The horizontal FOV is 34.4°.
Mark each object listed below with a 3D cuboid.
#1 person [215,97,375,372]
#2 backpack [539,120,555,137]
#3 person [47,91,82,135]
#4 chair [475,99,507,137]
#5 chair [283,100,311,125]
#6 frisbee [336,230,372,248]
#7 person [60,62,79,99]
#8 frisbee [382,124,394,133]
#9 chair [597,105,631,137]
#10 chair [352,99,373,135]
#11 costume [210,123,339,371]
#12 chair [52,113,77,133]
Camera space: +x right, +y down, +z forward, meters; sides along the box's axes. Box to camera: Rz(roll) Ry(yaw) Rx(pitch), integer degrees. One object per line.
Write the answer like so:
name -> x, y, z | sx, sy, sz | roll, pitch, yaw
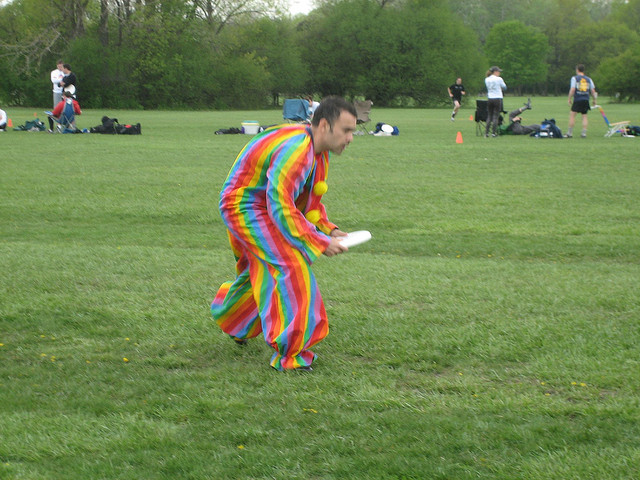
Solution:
person -> -0.431, -0.075, 13.033 | 1.683, 3.414, 0.604 | 0, 7, -4
backpack -> 5.796, -2.811, 26.309 | 0.370, 0.394, 0.558 | 2, 7, 10
person -> -6.825, -3.397, 27.686 | 0.959, 1.032, 0.738 | -1, 12, -28
chair -> 4.493, -3.221, 27.503 | 0.920, 0.776, 0.874 | 2, 5, -35
chair -> -0.680, -3.715, 29.740 | 0.674, 0.575, 0.623 | 5, 12, 30
frisbee -> 0.430, -0.024, 13.035 | 0.397, 0.204, 0.451 | 1, 7, 1
person -> -6.582, -4.177, 27.136 | 0.372, 0.886, 1.395 | -1, 7, -15
frisbee -> 1.865, -3.023, 28.283 | 0.281, 0.183, 0.391 | 3, 7, 16
chair -> 7.569, -3.033, 26.458 | 0.734, 0.737, 0.596 | -6, 7, 7
chair -> 1.085, -3.318, 28.605 | 0.627, 0.887, 0.730 | 6, -9, -13
costume -> -0.557, 0.086, 13.036 | 1.386, 3.062, 0.540 | 1, 7, -3
chair -> -6.719, -3.106, 27.553 | 0.556, 0.537, 0.550 | 3, 2, 15
